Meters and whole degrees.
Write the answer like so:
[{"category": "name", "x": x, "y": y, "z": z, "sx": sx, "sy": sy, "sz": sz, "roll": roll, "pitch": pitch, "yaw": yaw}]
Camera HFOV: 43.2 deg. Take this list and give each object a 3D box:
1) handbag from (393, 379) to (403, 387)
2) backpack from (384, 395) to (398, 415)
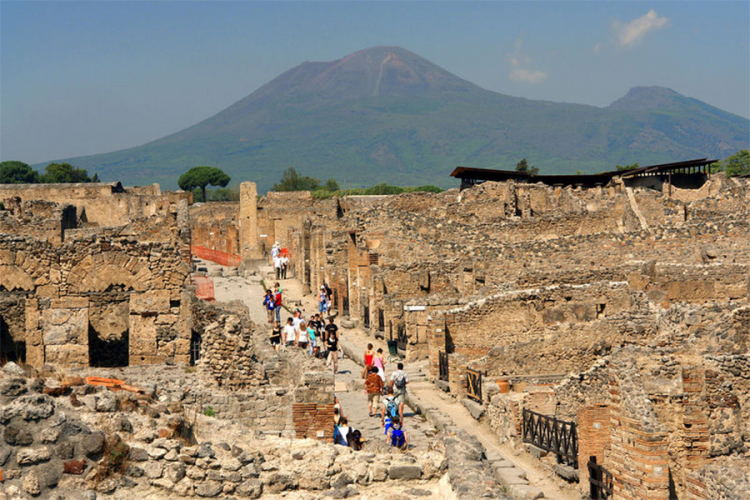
[{"category": "handbag", "x": 0.650, "y": 3.713, "z": 25.968, "sx": 0.183, "sy": 0.211, "sz": 0.232, "roll": -1, "pitch": -14, "yaw": 3}, {"category": "backpack", "x": 0.406, "y": 3.896, "z": 23.377, "sx": 0.336, "sy": 0.517, "sz": 0.771, "roll": -4, "pitch": 3, "yaw": 0}]
